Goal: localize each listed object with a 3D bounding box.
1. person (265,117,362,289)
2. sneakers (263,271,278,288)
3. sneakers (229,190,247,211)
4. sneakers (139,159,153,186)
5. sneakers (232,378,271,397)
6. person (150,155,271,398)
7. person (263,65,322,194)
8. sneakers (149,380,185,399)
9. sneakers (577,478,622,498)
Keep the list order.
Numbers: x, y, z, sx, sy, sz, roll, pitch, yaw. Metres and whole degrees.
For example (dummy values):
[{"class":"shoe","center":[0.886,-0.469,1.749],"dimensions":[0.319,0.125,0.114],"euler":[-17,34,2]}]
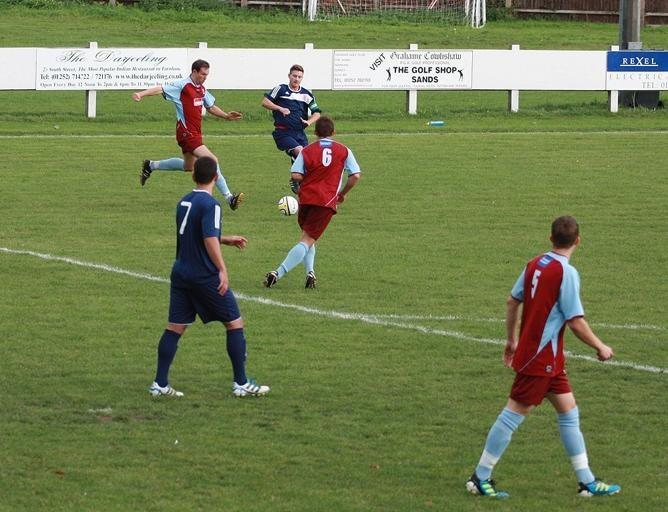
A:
[{"class":"person","center":[-0.304,-0.864,23.089],"dimensions":[1.306,2.531,0.449],"euler":[0,9,-1]},{"class":"sneakers","center":[-1.030,0.392,23.244],"dimensions":[0.196,0.252,0.264],"euler":[20,19,41]},{"class":"sneakers","center":[-1.750,-0.976,26.319],"dimensions":[0.224,0.449,0.155],"euler":[38,43,-4]},{"class":"sneakers","center":[-3.509,-1.531,27.420],"dimensions":[0.286,0.606,0.205],"euler":[3,41,-11]},{"class":"sneakers","center":[-1.176,1.835,20.572],"dimensions":[0.538,0.232,0.193],"euler":[-1,8,-7]},{"class":"person","center":[-1.818,0.322,20.182],"dimensions":[1.403,3.278,0.349],"euler":[-1,9,-7]},{"class":"person","center":[-0.787,-2.295,27.136],"dimensions":[1.151,2.249,0.826],"euler":[-4,9,-28]},{"class":"sneakers","center":[-2.358,1.851,20.387],"dimensions":[0.532,0.214,0.190],"euler":[3,9,-17]},{"class":"sneakers","center":[3.404,3.006,19.195],"dimensions":[0.585,0.253,0.210],"euler":[-2,0,0]}]
